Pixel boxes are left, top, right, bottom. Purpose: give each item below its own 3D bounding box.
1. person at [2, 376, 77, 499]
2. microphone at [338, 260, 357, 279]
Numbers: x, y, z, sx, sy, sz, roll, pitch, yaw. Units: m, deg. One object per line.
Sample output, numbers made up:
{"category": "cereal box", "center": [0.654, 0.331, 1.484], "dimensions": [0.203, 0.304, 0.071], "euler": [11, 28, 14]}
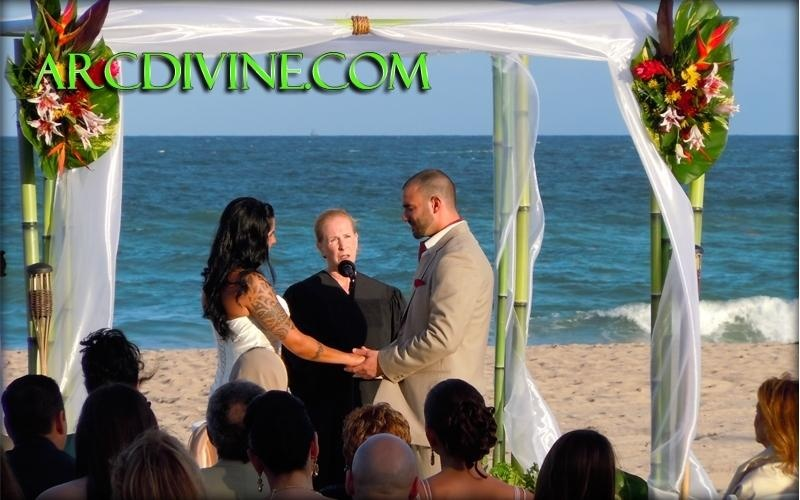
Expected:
{"category": "person", "center": [-4.950, 2.629, 21.849], "dimensions": [1.545, 1.395, 0.958], "euler": [-3, 9, -2]}
{"category": "microphone", "center": [-0.775, 0.288, 23.459], "dimensions": [0.216, 0.285, 0.086], "euler": [-17, 29, 1]}
